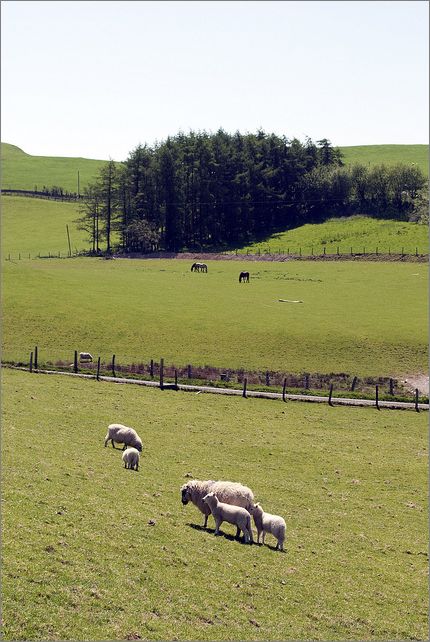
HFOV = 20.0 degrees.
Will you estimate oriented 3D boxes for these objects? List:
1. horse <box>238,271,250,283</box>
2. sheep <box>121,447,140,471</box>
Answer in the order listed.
[{"bbox_3d":[2.587,-3.832,107.631,0.860,1.054,1.821,10,7,0],"label":"horse"},{"bbox_3d":[-2.974,4.850,42.946,0.614,0.635,0.710,10,7,-4],"label":"sheep"}]
